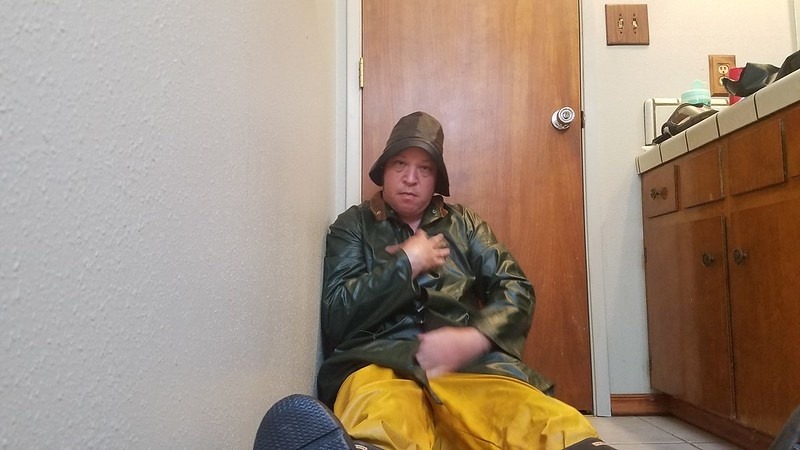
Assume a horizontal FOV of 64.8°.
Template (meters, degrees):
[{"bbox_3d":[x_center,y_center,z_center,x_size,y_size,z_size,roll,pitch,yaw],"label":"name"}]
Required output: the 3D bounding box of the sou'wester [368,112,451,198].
[{"bbox_3d":[0.042,-0.280,2.306,0.322,0.264,0.418,10,-8,8],"label":"sou'wester"}]

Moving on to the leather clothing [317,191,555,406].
[{"bbox_3d":[0.086,0.253,2.074,0.769,0.622,0.931,-1,17,-13],"label":"leather clothing"}]

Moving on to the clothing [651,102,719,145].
[{"bbox_3d":[1.106,-0.409,2.480,0.140,0.082,0.225,-31,2,-35],"label":"clothing"}]

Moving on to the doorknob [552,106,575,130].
[{"bbox_3d":[0.670,-0.435,2.570,0.096,0.092,0.028,3,7,-4],"label":"doorknob"}]
